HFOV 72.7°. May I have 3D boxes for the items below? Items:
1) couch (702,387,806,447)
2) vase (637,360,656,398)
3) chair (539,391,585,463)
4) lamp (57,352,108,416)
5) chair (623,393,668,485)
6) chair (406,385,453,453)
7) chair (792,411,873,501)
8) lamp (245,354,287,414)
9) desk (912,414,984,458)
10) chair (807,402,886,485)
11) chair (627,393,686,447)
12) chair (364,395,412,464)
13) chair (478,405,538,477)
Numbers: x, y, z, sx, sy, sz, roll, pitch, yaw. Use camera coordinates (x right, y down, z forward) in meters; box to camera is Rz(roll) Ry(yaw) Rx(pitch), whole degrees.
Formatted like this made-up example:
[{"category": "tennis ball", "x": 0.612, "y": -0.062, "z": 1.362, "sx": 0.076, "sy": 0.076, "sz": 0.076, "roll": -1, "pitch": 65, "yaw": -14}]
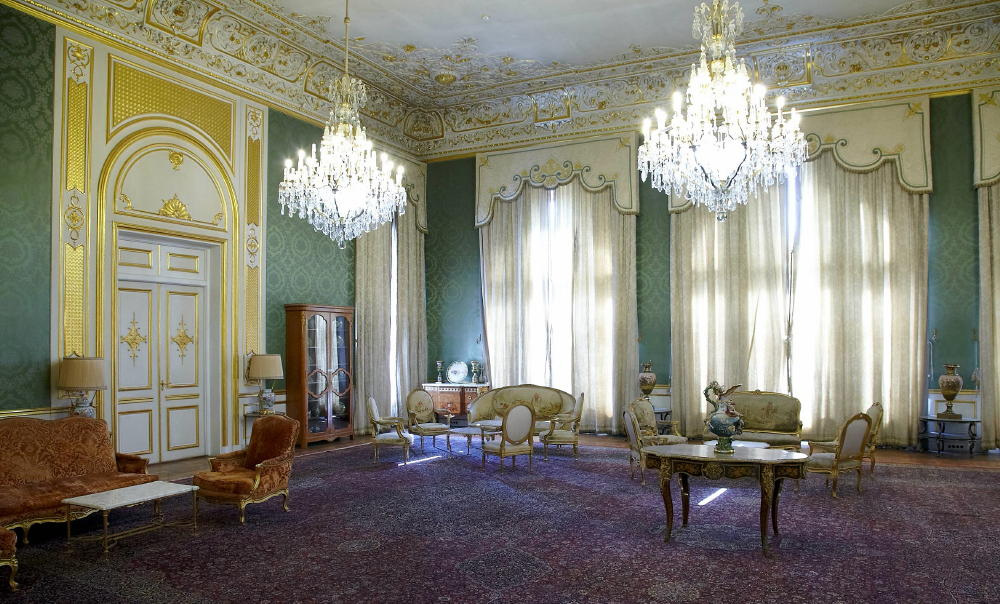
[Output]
[{"category": "couch", "x": 4.218, "y": 1.927, "z": 11.184, "sx": 1.287, "sy": 1.067, "sz": 0.491, "roll": -2, "pitch": -8, "yaw": 19}, {"category": "vase", "x": 2.992, "y": 1.628, "z": 13.757, "sx": 0.362, "sy": 0.752, "sz": 0.822, "roll": 2, "pitch": 10, "yaw": 13}, {"category": "chair", "x": 1.137, "y": 2.328, "z": 12.452, "sx": 0.806, "sy": 1.133, "sz": 0.872, "roll": 0, "pitch": -9, "yaw": 1}, {"category": "lamp", "x": -6.253, "y": 1.385, "z": 10.234, "sx": 0.636, "sy": 0.983, "sz": 0.645, "roll": 0, "pitch": -8, "yaw": -21}, {"category": "chair", "x": 2.353, "y": 2.245, "z": 10.897, "sx": 0.778, "sy": 1.118, "sz": 0.798, "roll": -4, "pitch": -1, "yaw": 17}, {"category": "chair", "x": -1.320, "y": 2.216, "z": 12.686, "sx": 0.809, "sy": 1.180, "sz": 0.854, "roll": -1, "pitch": -4, "yaw": 19}, {"category": "chair", "x": 5.065, "y": 2.271, "z": 10.340, "sx": 0.852, "sy": 1.261, "sz": 0.952, "roll": 1, "pitch": 2, "yaw": -2}, {"category": "lamp", "x": -4.209, "y": 1.503, "z": 12.277, "sx": 0.648, "sy": 1.086, "sz": 0.666, "roll": -10, "pitch": -9, "yaw": 37}, {"category": "desk", "x": 8.310, "y": 2.481, "z": 12.426, "sx": 0.824, "sy": 0.502, "sz": 0.820, "roll": 11, "pitch": -14, "yaw": -43}, {"category": "chair", "x": 5.049, "y": 2.231, "z": 10.349, "sx": 0.808, "sy": 1.250, "sz": 0.896, "roll": 2, "pitch": 3, "yaw": -5}, {"category": "chair", "x": 2.571, "y": 2.134, "z": 11.003, "sx": 0.718, "sy": 1.096, "sz": 0.772, "roll": -3, "pitch": -3, "yaw": -29}, {"category": "chair", "x": -1.906, "y": 2.230, "z": 12.101, "sx": 0.816, "sy": 1.126, "sz": 0.858, "roll": 1, "pitch": -2, "yaw": -8}, {"category": "chair", "x": 0.137, "y": 2.309, "z": 11.614, "sx": 0.834, "sy": 1.223, "sz": 0.888, "roll": 2, "pitch": -2, "yaw": -10}]
